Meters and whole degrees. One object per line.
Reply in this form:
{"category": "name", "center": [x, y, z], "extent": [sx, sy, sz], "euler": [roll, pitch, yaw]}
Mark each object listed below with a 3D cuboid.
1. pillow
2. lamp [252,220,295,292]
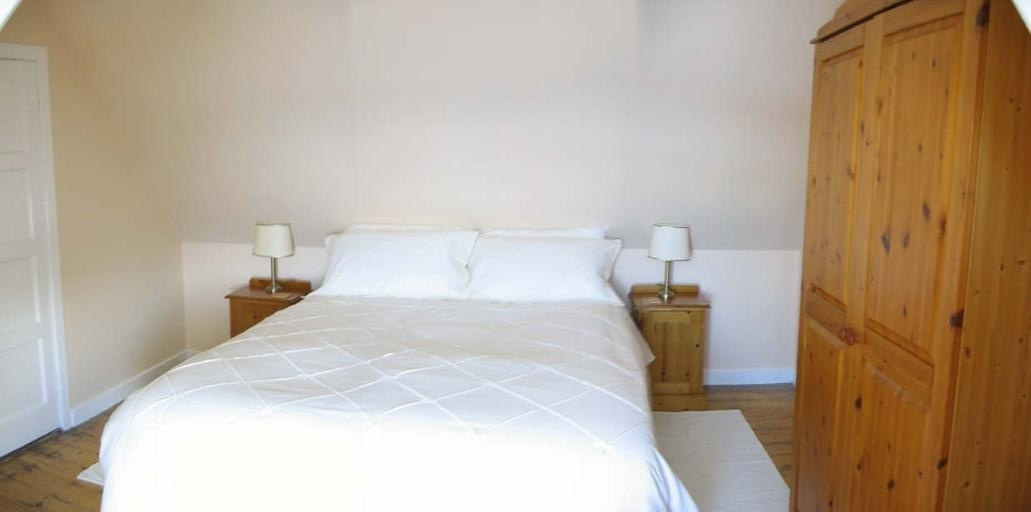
{"category": "pillow", "center": [-0.468, 0.091, 5.756], "extent": [2.478, 0.674, 0.252], "euler": [0, -7, 2]}
{"category": "lamp", "center": [-2.245, 0.018, 5.819], "extent": [0.349, 0.647, 0.335], "euler": [-1, 6, -18]}
